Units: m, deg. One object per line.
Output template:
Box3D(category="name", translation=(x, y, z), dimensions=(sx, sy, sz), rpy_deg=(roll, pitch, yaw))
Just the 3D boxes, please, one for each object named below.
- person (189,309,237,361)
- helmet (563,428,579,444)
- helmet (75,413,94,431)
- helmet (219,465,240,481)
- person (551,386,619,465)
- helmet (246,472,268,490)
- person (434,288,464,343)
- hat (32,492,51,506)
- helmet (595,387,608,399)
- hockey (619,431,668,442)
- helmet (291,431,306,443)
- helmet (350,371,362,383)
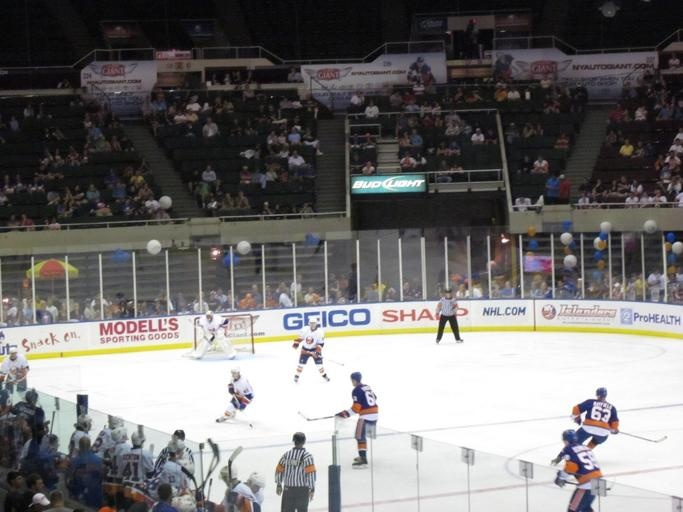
Box3D(category="person", translation=(-4.220, 2.624, 44.952), dimensions=(1.437, 1.738, 0.891), rpy_deg=(-1, 5, 15))
Box3D(category="helmet", translation=(5.628, 4.477, 33.819), dimensions=(0.275, 0.322, 0.350), rpy_deg=(-4, 16, -8))
Box3D(category="helmet", translation=(-6.412, 4.211, 34.389), dimensions=(0.406, 0.403, 0.300), rpy_deg=(-2, 6, -12))
Box3D(category="helmet", translation=(-2.713, 5.280, 33.144), dimensions=(0.386, 0.315, 0.293), rpy_deg=(4, -4, 9))
Box3D(category="person", translation=(6.547, 4.461, 35.601), dimensions=(1.371, 2.135, 1.182), rpy_deg=(14, 12, -14))
Box3D(category="helmet", translation=(-2.056, 5.452, 33.204), dimensions=(0.383, 0.360, 0.310), rpy_deg=(28, 18, -11))
Box3D(category="person", translation=(3.524, 1.974, 45.621), dimensions=(0.794, 1.871, 0.563), rpy_deg=(0, 22, 2))
Box3D(category="hat", translation=(-7.257, 5.905, 33.103), dimensions=(0.350, 0.193, 0.264), rpy_deg=(-1, 3, -7))
Box3D(category="helmet", translation=(6.665, 3.581, 35.261), dimensions=(0.246, 0.321, 0.276), rpy_deg=(2, 42, 14))
Box3D(category="hockey", translation=(7.892, 4.785, 36.012), dimensions=(1.460, 0.084, 0.498), rpy_deg=(0, 30, 11))
Box3D(category="helmet", translation=(-1.023, 4.437, 33.374), dimensions=(0.222, 0.238, 0.258), rpy_deg=(1, 6, 5))
Box3D(category="helmet", translation=(0.405, 3.197, 35.877), dimensions=(0.268, 0.281, 0.205), rpy_deg=(-16, 17, -16))
